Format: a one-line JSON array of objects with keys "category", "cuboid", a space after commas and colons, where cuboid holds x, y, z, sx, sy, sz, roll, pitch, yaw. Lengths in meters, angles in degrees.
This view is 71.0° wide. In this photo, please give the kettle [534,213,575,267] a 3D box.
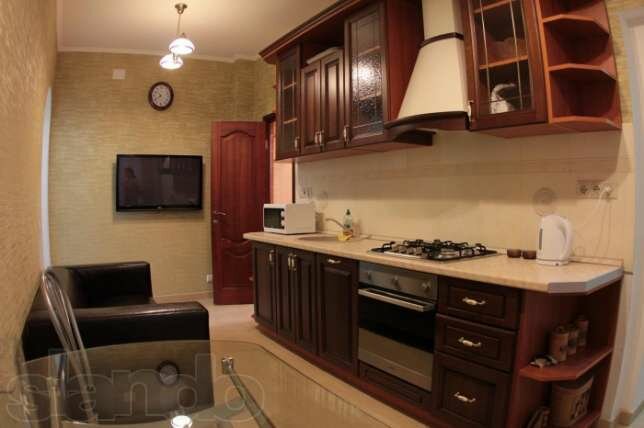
[{"category": "kettle", "cuboid": [1.530, 0.172, 2.985, 0.201, 0.336, 0.139, -1, 5, 17]}]

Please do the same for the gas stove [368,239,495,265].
[{"category": "gas stove", "cuboid": [0.849, 0.258, 3.454, 0.788, 0.097, 0.638, 2, 5, 44]}]

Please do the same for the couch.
[{"category": "couch", "cuboid": [-1.462, 0.943, 3.158, 0.666, 0.500, 1.138, -4, 6, -27]}]

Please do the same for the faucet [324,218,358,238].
[{"category": "faucet", "cuboid": [0.181, 0.122, 4.571, 0.192, 0.215, 0.464, -4, 4, -22]}]

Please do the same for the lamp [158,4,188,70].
[{"category": "lamp", "cuboid": [-1.633, -1.982, 4.970, 0.209, 0.479, 0.507, 7, -15, -28]}]

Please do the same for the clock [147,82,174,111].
[{"category": "clock", "cuboid": [-2.120, -1.547, 5.918, 0.418, 0.450, 0.062, 1, -6, -15]}]

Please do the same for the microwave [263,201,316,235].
[{"category": "microwave", "cuboid": [-0.355, 0.047, 4.933, 0.392, 0.317, 0.535, -1, 1, -36]}]

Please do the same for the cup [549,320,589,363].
[{"category": "cup", "cuboid": [1.608, 0.838, 2.960, 0.254, 0.154, 0.082, -8, 14, -35]}]
